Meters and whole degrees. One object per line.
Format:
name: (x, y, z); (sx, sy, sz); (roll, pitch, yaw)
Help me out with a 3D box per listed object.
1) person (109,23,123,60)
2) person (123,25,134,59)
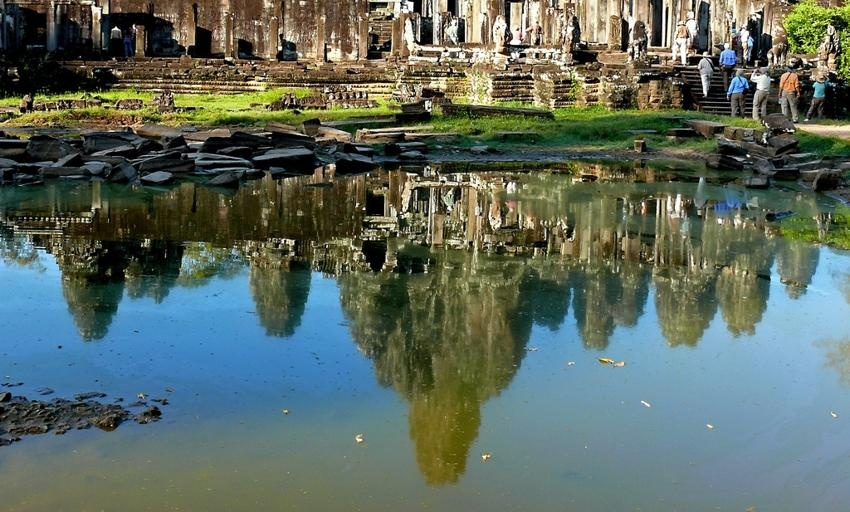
person: (-14.468, -10.094, 38.463); (0.605, 1.284, 0.593); (-3, 13, -13)
person: (-13.849, -10.012, 38.372); (0.637, 1.241, 0.445); (1, 12, 2)
